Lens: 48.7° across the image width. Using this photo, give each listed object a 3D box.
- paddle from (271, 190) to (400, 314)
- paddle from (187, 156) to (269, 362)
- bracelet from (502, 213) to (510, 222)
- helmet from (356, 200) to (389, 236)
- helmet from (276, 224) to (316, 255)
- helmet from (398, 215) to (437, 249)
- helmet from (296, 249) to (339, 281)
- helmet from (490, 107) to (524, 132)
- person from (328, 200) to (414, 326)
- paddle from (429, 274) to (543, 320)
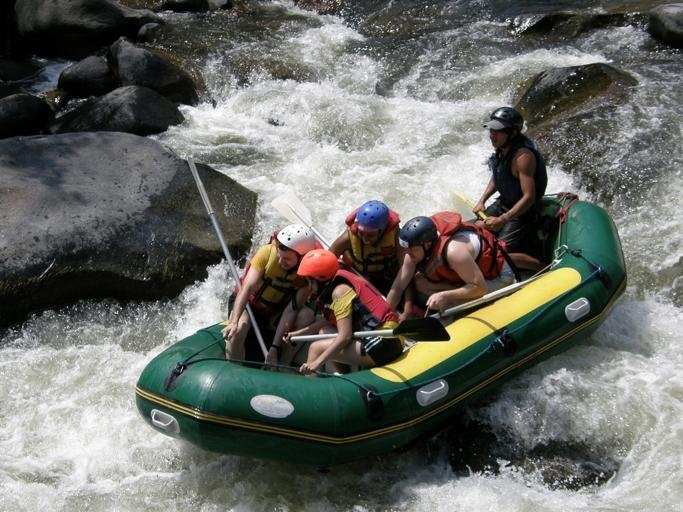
[{"bbox_3d":[0.163,-0.072,7.142,1.335,0.742,0.331,31,67,-7],"label":"paddle"},{"bbox_3d":[-1.229,0.095,8.043,0.198,0.157,2.758,-9,60,-51],"label":"paddle"},{"bbox_3d":[1.659,-0.383,7.538,0.058,0.022,0.092,7,59,14],"label":"bracelet"},{"bbox_3d":[0.304,-0.373,6.944,0.253,0.321,0.250,17,51,16],"label":"helmet"},{"bbox_3d":[-0.413,-0.169,6.885,0.270,0.315,0.234,-6,40,-28],"label":"helmet"},{"bbox_3d":[0.703,-0.199,6.780,0.337,0.235,0.227,-31,51,-8],"label":"helmet"},{"bbox_3d":[-0.227,0.087,6.667,0.374,0.177,0.216,2,48,-10],"label":"helmet"},{"bbox_3d":[1.680,-1.361,7.531,0.345,0.153,0.223,4,11,-26],"label":"helmet"},{"bbox_3d":[0.303,0.047,7.190,0.877,1.082,0.489,-12,12,26],"label":"person"},{"bbox_3d":[1.310,0.401,6.947,1.170,0.081,0.147,-15,21,-25],"label":"paddle"}]
